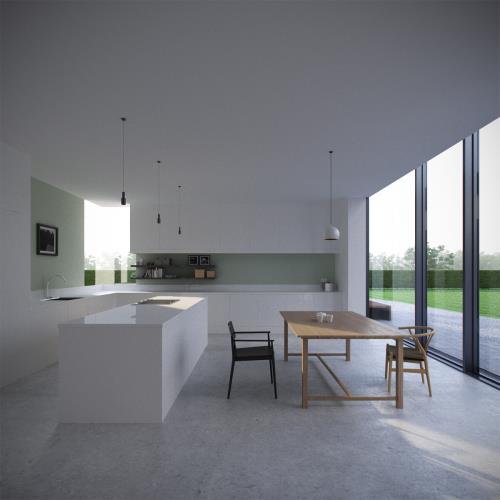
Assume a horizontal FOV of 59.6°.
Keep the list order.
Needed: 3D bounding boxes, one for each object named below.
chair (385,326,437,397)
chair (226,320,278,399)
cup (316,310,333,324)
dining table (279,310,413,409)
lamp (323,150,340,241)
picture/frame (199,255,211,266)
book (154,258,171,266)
[{"bbox_3d":[1.769,1.224,4.822,0.425,0.786,0.553,0,-8,18],"label":"chair"},{"bbox_3d":[0.015,1.195,4.824,0.549,0.794,0.639,-1,-3,13],"label":"chair"},{"bbox_3d":[0.876,0.789,5.153,0.114,0.085,0.152,2,-2,-38],"label":"cup"},{"bbox_3d":[0.972,1.164,5.014,1.101,0.733,1.825,0,1,-2],"label":"dining table"},{"bbox_3d":[1.166,-0.790,6.346,0.219,1.399,0.256,2,-12,0],"label":"lamp"},{"bbox_3d":[-0.923,0.211,8.821,0.180,0.234,0.192,0,1,8],"label":"picture/frame"},{"bbox_3d":[-1.774,0.226,8.828,0.353,0.168,0.148,0,1,-7],"label":"book"}]
